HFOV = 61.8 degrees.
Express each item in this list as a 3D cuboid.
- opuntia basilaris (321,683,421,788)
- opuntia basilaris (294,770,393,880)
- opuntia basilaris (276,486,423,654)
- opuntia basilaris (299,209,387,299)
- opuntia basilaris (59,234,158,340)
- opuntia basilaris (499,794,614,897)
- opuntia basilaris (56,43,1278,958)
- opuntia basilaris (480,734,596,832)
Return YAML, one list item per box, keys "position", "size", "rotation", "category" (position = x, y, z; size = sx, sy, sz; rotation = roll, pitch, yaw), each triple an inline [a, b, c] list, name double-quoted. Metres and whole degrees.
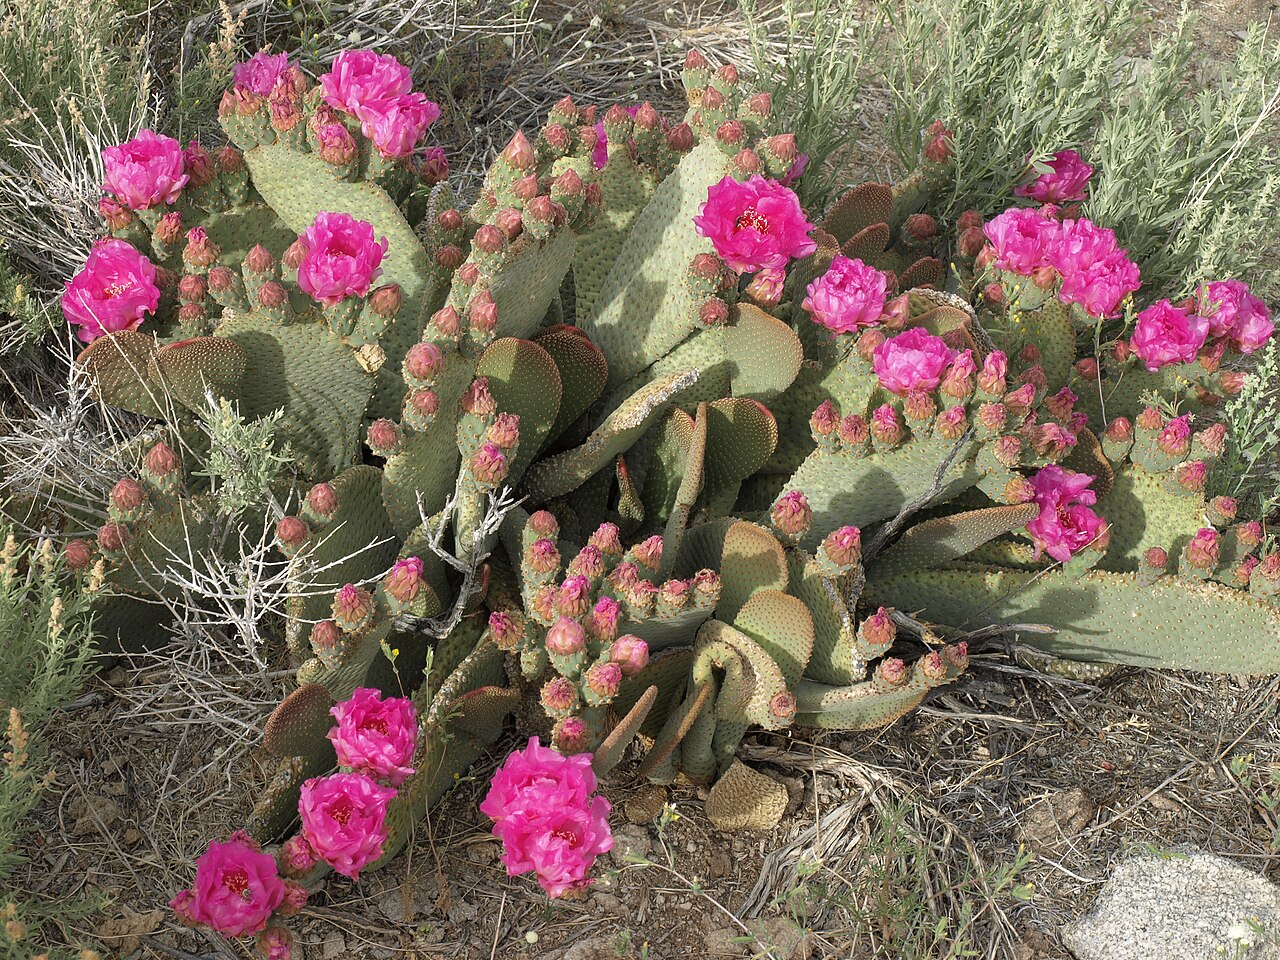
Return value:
- position: [-0.453, 0.443, 1.840]
  size: [0.136, 0.095, 0.151]
  rotation: [-22, 40, -25]
  category: "opuntia basilaris"
- position: [-0.488, 0.560, 1.776]
  size: [0.138, 0.079, 0.165]
  rotation: [1, 83, -10]
  category: "opuntia basilaris"
- position: [-0.564, 0.157, 2.041]
  size: [0.247, 0.437, 0.258]
  rotation: [-7, 46, -23]
  category: "opuntia basilaris"
- position: [-0.561, -0.441, 2.027]
  size: [0.141, 0.087, 0.144]
  rotation: [-17, 37, -3]
  category: "opuntia basilaris"
- position: [-1.034, -0.364, 2.177]
  size: [0.197, 0.095, 0.208]
  rotation: [-4, 73, 32]
  category: "opuntia basilaris"
- position: [-0.143, 0.599, 1.766]
  size: [0.180, 0.083, 0.177]
  rotation: [-15, 73, -15]
  category: "opuntia basilaris"
- position: [0.051, -0.126, 2.584]
  size: [2.219, 1.008, 1.856]
  rotation: [-13, 86, -39]
  category: "opuntia basilaris"
- position: [-0.170, 0.544, 1.808]
  size: [0.186, 0.108, 0.206]
  rotation: [-7, 10, -1]
  category: "opuntia basilaris"
